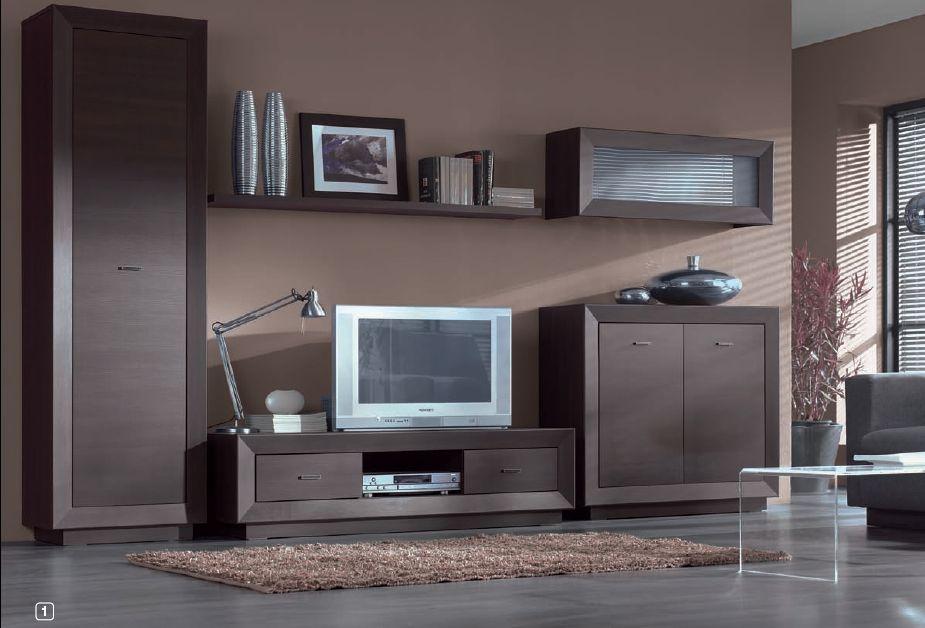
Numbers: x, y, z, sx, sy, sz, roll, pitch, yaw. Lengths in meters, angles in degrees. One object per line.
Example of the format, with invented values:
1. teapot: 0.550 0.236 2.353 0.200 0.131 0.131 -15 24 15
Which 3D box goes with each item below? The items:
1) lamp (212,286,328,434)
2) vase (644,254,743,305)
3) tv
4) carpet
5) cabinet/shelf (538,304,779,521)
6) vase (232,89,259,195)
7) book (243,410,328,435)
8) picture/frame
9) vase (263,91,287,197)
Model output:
1. lamp: -1.097 0.238 4.873 0.602 0.815 0.490 2 -5 -15
2. vase: 1.474 -0.176 5.587 0.513 0.256 0.354 0 2 -7
3. tv: -0.266 0.323 4.957 0.811 0.488 0.126 1 -7 -17
4. carpet: -0.097 1.105 4.028 2.762 0.083 1.037 2 -4 -15
5. cabinet/shelf: 1.148 0.618 5.399 1.473 1.135 0.533 1 -5 -17
6. vase: -1.220 -0.954 4.891 0.138 0.597 0.089 2 -5 -16
7. book: -0.960 0.595 4.756 0.438 0.091 0.187 1 -4 -5
8. picture/frame: -0.675 -0.921 5.182 0.648 0.486 0.049 2 -12 -20
9. vase: -1.067 -0.966 4.969 0.137 0.625 0.115 1 -5 -8
